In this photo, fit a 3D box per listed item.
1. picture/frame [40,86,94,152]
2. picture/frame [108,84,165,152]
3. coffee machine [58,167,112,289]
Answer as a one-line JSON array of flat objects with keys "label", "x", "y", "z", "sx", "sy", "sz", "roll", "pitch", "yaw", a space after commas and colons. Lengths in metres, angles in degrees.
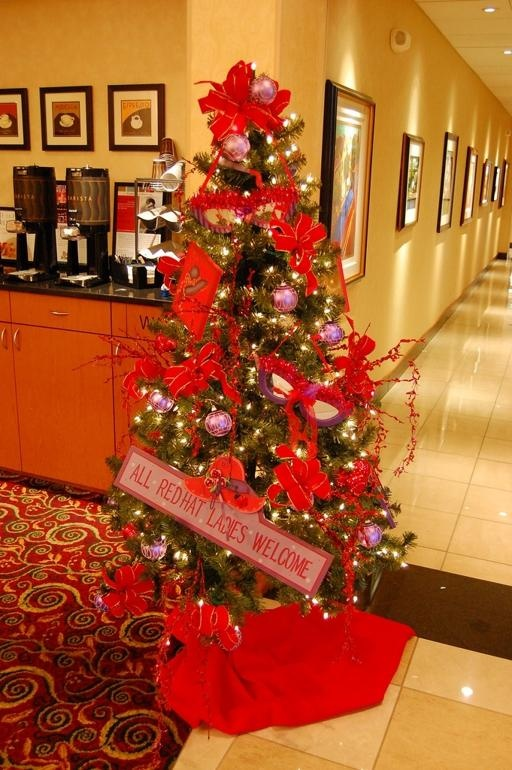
[{"label": "picture/frame", "x": -1.087, "y": -1.555, "z": 3.336, "sx": 0.345, "sy": 0.358, "sz": 0.027, "roll": 12, "pitch": 23, "yaw": 27}, {"label": "picture/frame", "x": -0.646, "y": -1.471, "z": 3.145, "sx": 0.366, "sy": 0.380, "sz": 0.029, "roll": 12, "pitch": 24, "yaw": 25}, {"label": "coffee machine", "x": -0.883, "y": -0.815, "z": 2.969, "sx": 0.239, "sy": 0.618, "sz": 0.402, "roll": -1, "pitch": 8, "yaw": -17}]
